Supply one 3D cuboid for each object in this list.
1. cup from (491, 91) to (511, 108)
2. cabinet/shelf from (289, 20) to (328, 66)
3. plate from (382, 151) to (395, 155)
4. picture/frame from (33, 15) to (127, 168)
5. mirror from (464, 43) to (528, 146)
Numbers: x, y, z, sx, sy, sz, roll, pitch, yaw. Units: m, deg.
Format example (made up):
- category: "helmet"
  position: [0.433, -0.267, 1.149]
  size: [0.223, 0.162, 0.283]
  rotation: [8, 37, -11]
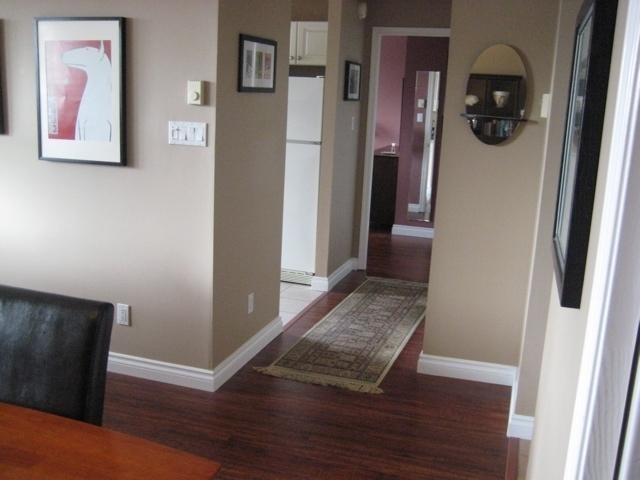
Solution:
- category: "cup"
  position: [1.105, -0.853, 3.128]
  size: [0.091, 0.082, 0.100]
  rotation: [2, 10, 6]
- category: "cabinet/shelf"
  position: [-0.114, -1.934, 5.044]
  size: [0.389, 0.433, 0.217]
  rotation: [5, 13, 10]
- category: "plate"
  position: [1.069, -1.356, 7.985]
  size: [0.199, 0.018, 0.458]
  rotation: [4, 14, 5]
- category: "picture/frame"
  position: [-1.384, -0.904, 3.000]
  size: [0.763, 1.137, 0.044]
  rotation: [3, 8, 13]
- category: "mirror"
  position: [1.049, -0.880, 3.102]
  size: [0.339, 0.634, 0.166]
  rotation: [5, 3, 13]
